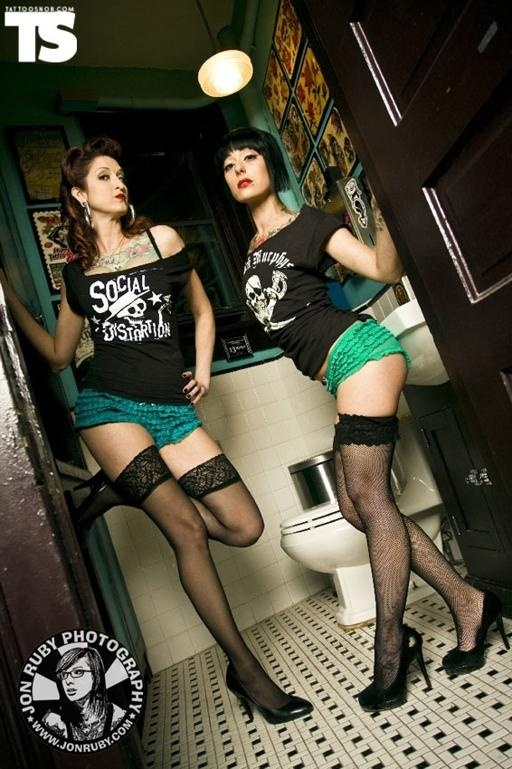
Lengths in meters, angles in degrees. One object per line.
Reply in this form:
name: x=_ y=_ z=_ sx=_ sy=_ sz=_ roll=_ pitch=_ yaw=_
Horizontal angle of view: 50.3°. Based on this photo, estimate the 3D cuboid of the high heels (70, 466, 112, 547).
high heels: x=-0.405 y=0.309 z=1.418 sx=0.064 sy=0.092 sz=0.205 roll=12 pitch=15 yaw=-9

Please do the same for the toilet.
toilet: x=0.357 y=0.407 z=2.108 sx=0.618 sy=0.908 sz=0.291 roll=-8 pitch=-17 yaw=-18

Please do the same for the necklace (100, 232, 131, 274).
necklace: x=-0.389 y=-0.363 z=1.504 sx=0.081 sy=0.025 sz=0.081 roll=-7 pitch=47 yaw=23

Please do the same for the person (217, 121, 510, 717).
person: x=0.200 y=0.014 z=1.331 sx=0.426 sy=1.315 sz=0.602 roll=-22 pitch=5 yaw=7
